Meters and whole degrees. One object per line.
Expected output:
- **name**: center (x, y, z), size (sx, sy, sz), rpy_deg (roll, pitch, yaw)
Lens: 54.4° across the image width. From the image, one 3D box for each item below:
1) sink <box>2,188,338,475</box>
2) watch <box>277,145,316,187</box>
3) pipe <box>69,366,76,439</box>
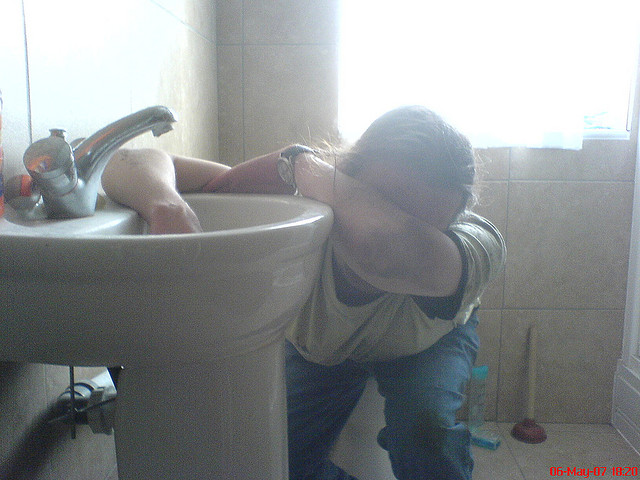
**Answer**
- **sink**: center (-0.218, 0.137, 1.285), size (0.466, 0.729, 0.444), rpy_deg (0, 15, 1)
- **watch**: center (-0.051, -0.148, 1.235), size (0.059, 0.088, 0.048), rpy_deg (6, -4, 14)
- **pipe**: center (-0.470, 0.310, 1.176), size (0.012, 0.137, 0.012), rpy_deg (-2, 6, -23)
